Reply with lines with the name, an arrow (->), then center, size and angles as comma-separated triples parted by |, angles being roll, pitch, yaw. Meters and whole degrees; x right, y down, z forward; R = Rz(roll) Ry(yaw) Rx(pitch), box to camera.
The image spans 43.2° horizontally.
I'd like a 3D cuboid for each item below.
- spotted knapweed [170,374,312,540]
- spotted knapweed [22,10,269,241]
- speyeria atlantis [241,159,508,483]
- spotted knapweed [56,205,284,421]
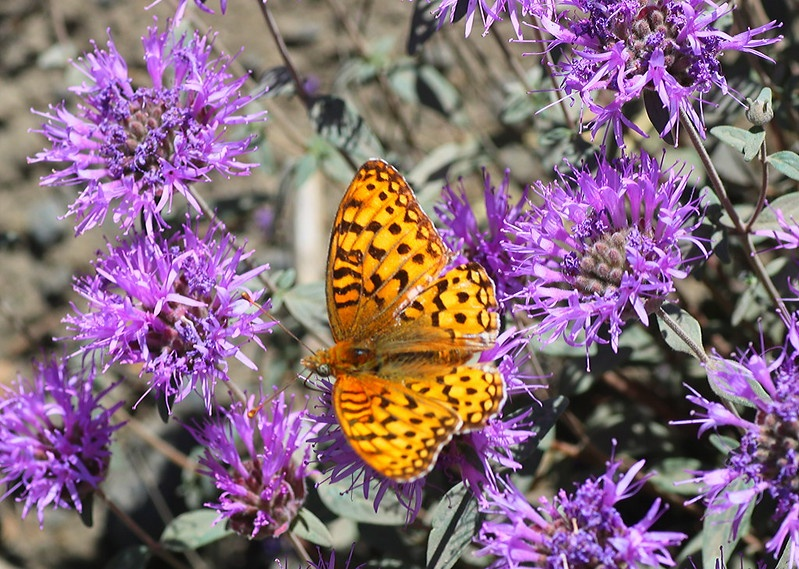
spotted knapweed -> -0.814, 1.009, 5.758 | 0.455, 1.165, 0.484 | -7, 19, -2
spotted knapweed -> -1.473, -0.893, 5.814 | 0.942, 1.638, 1.311 | -13, 16, -24
speyeria atlantis -> 0.047, 0.242, 5.345 | 1.198, 2.503, 0.630 | -6, -14, 19
spotted knapweed -> -1.299, 0.087, 5.779 | 0.784, 1.417, 0.971 | -6, 9, -15
